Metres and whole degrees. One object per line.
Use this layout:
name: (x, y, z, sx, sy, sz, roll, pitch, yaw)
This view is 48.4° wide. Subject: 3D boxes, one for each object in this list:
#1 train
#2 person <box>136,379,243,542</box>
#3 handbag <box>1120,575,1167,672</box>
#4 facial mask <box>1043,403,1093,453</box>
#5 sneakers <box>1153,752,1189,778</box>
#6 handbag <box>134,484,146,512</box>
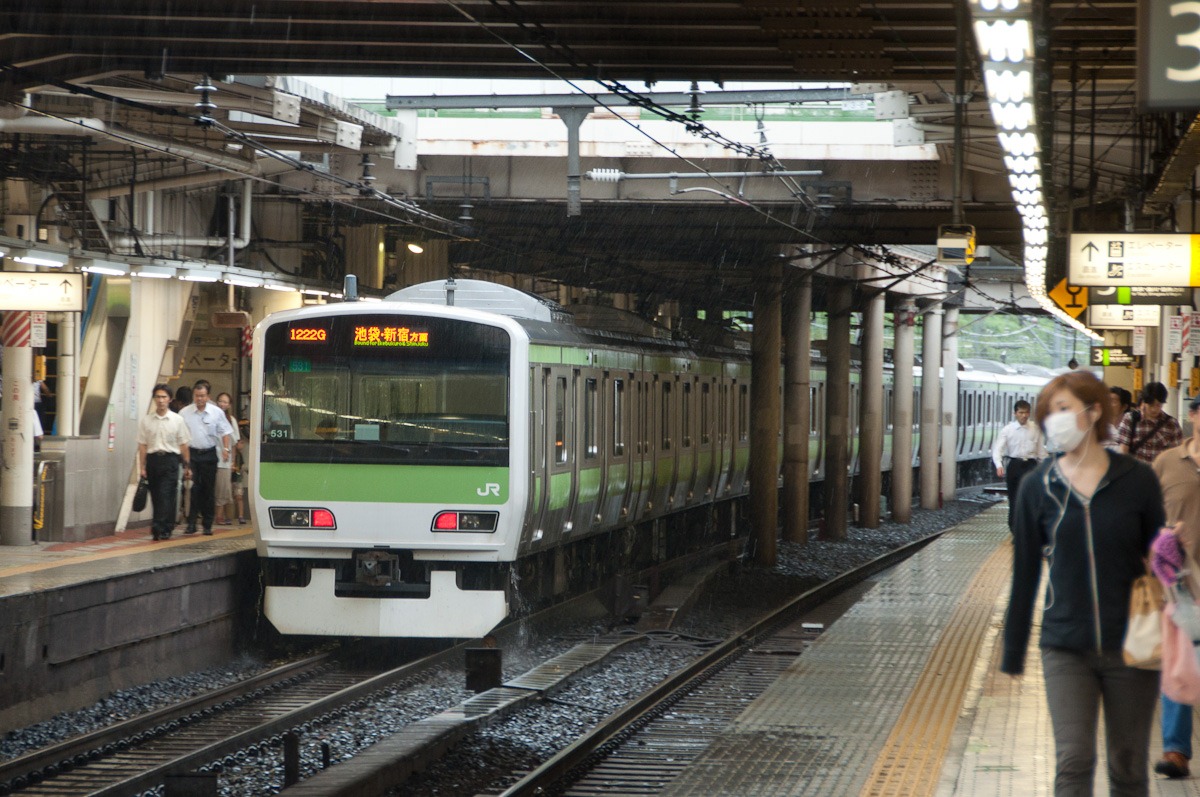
train: (-0.466, 0.670, 20.830, 2.805, 4.958, 13.099, 1, 5, 17)
person: (-5.270, 0.815, 16.872, 0.675, 2.001, 1.156, 2, 6, 26)
handbag: (2.779, 1.134, 6.784, 0.199, 0.471, 0.096, 0, 5, 8)
facial mask: (2.438, 0.176, 6.937, 0.224, 0.140, 0.184, 7, -10, -29)
sneakers: (3.770, 2.396, 8.755, 0.111, 0.131, 0.322, -4, -13, 20)
handbag: (-5.774, 1.215, 16.729, 0.183, 0.368, 0.493, -3, 5, -21)
